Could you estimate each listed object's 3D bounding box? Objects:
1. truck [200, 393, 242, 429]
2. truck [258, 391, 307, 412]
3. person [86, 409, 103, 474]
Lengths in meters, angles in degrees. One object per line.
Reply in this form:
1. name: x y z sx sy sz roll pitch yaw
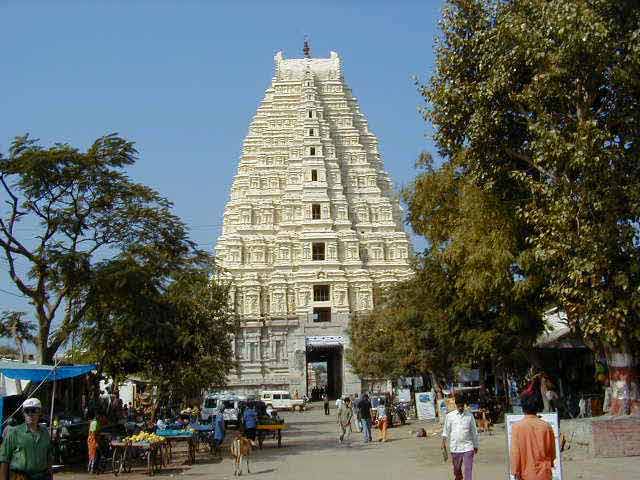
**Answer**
1. truck: -4.902 9.090 42.066 2.728 2.043 2.066 -3 -13 -3
2. truck: -2.797 12.484 59.988 3.277 1.430 1.768 4 -4 -16
3. person: -6.893 6.301 23.788 0.375 1.630 1.143 4 -4 -14
